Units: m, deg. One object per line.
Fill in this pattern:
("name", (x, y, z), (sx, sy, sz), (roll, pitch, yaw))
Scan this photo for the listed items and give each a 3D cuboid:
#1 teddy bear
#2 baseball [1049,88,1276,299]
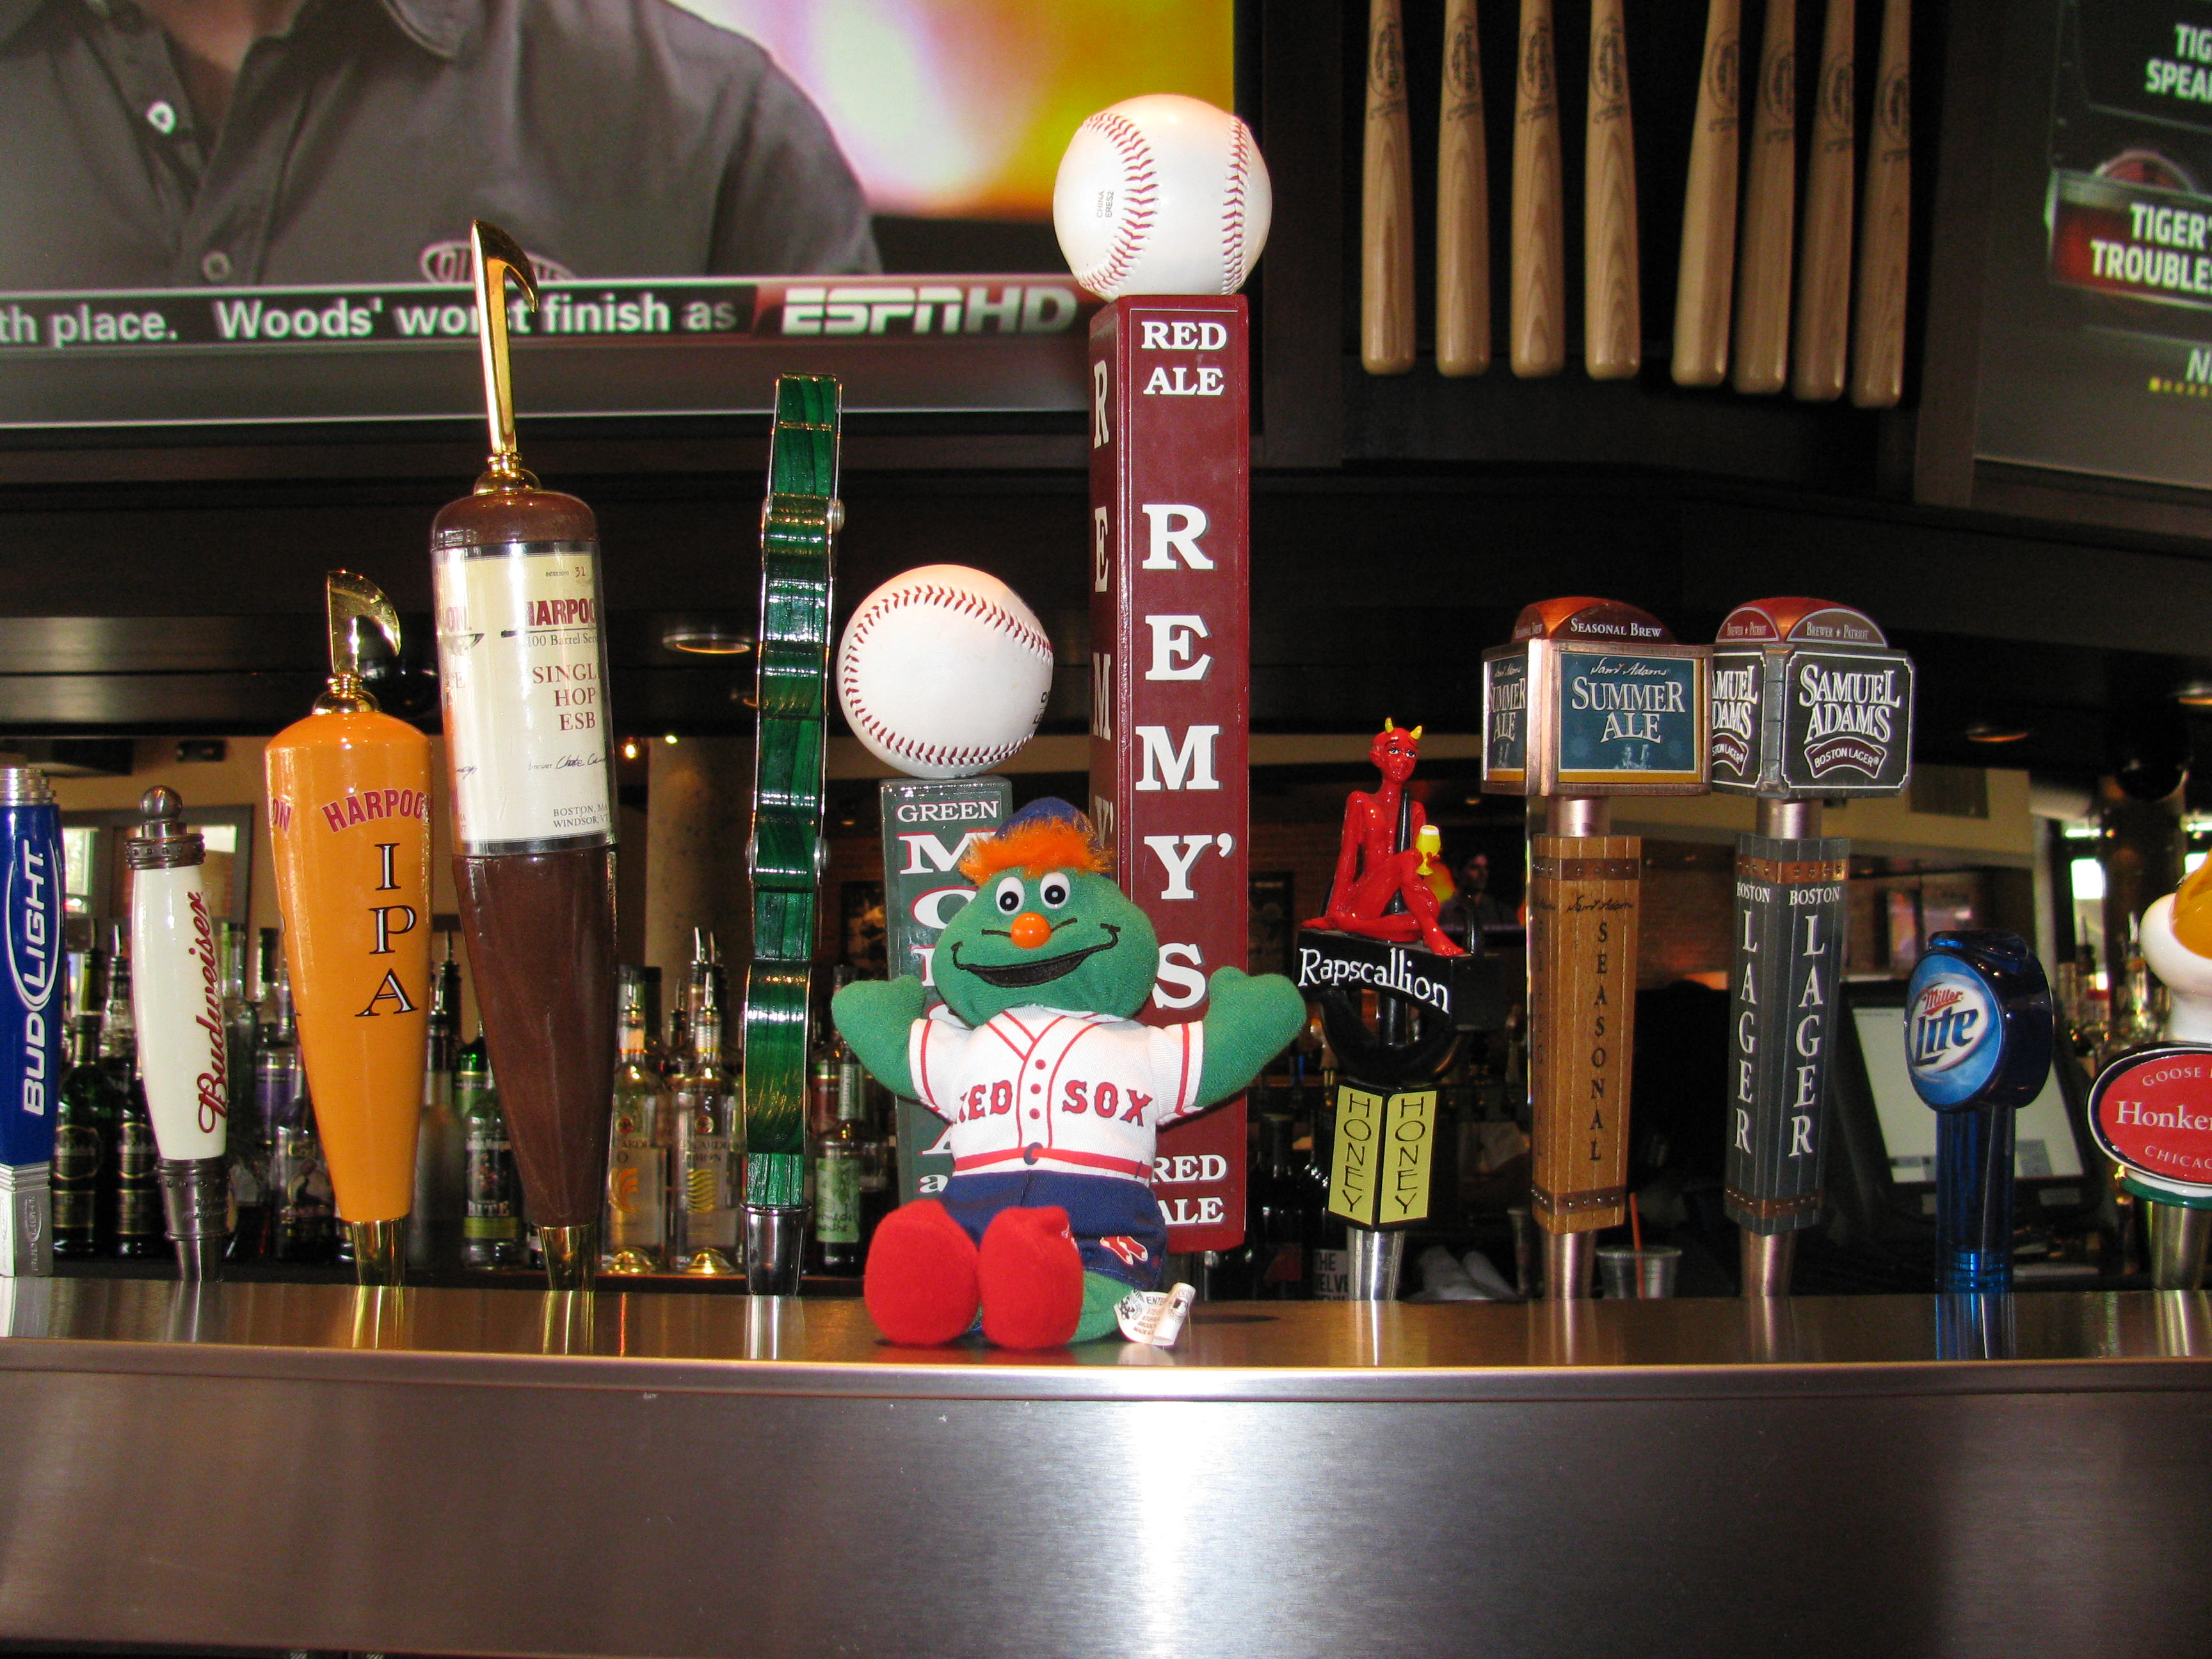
("teddy bear", (-0.029, 0.236, 2.668), (0.436, 0.506, 0.256), (2, -5, -19))
("baseball", (0.058, -0.653, 2.870), (0.214, 0.216, 0.099), (0, -4, -2))
